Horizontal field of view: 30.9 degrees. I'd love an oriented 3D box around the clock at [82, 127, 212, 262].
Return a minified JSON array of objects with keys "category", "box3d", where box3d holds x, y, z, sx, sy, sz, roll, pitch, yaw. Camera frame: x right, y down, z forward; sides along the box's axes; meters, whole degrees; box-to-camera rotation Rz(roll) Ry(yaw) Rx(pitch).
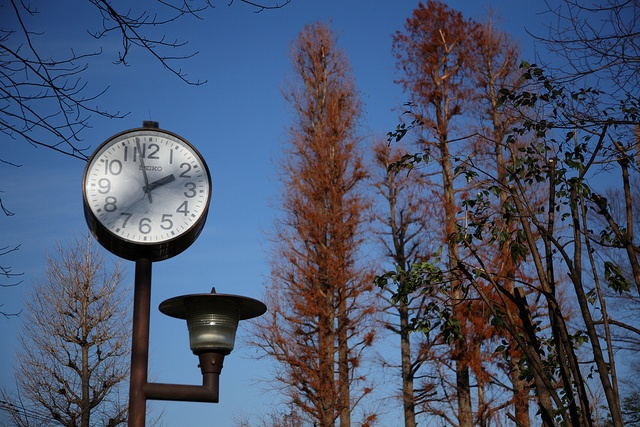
[{"category":"clock","box3d":[-2.842,-0.248,18.436,1.955,2.364,0.556,-1,-12,-7]}]
